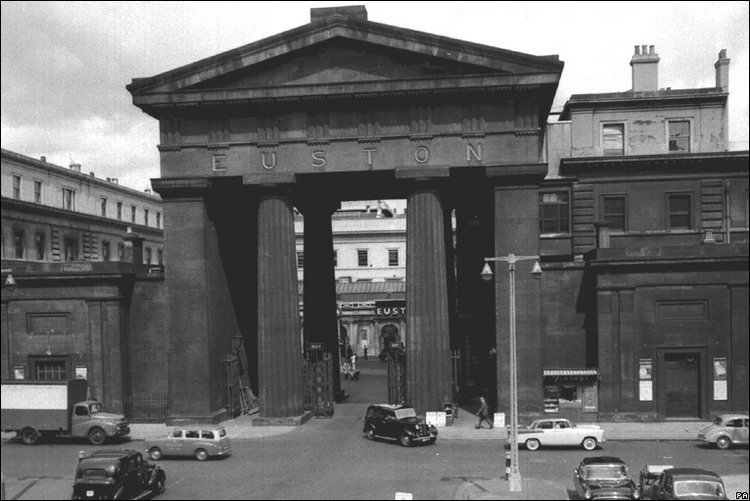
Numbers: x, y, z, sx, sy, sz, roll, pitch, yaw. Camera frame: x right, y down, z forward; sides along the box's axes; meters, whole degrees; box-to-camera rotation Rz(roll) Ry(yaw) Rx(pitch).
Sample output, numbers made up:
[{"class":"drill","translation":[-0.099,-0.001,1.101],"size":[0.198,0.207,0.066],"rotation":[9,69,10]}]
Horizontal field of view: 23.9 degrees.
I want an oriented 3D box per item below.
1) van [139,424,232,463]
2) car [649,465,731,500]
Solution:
[{"class":"van","translation":[-14.059,14.443,132.590],"size":[5.563,1.959,2.694],"rotation":[1,-7,3]},{"class":"car","translation":[21.743,16.209,124.505],"size":[5.158,2.093,3.842],"rotation":[-1,2,-1]}]
